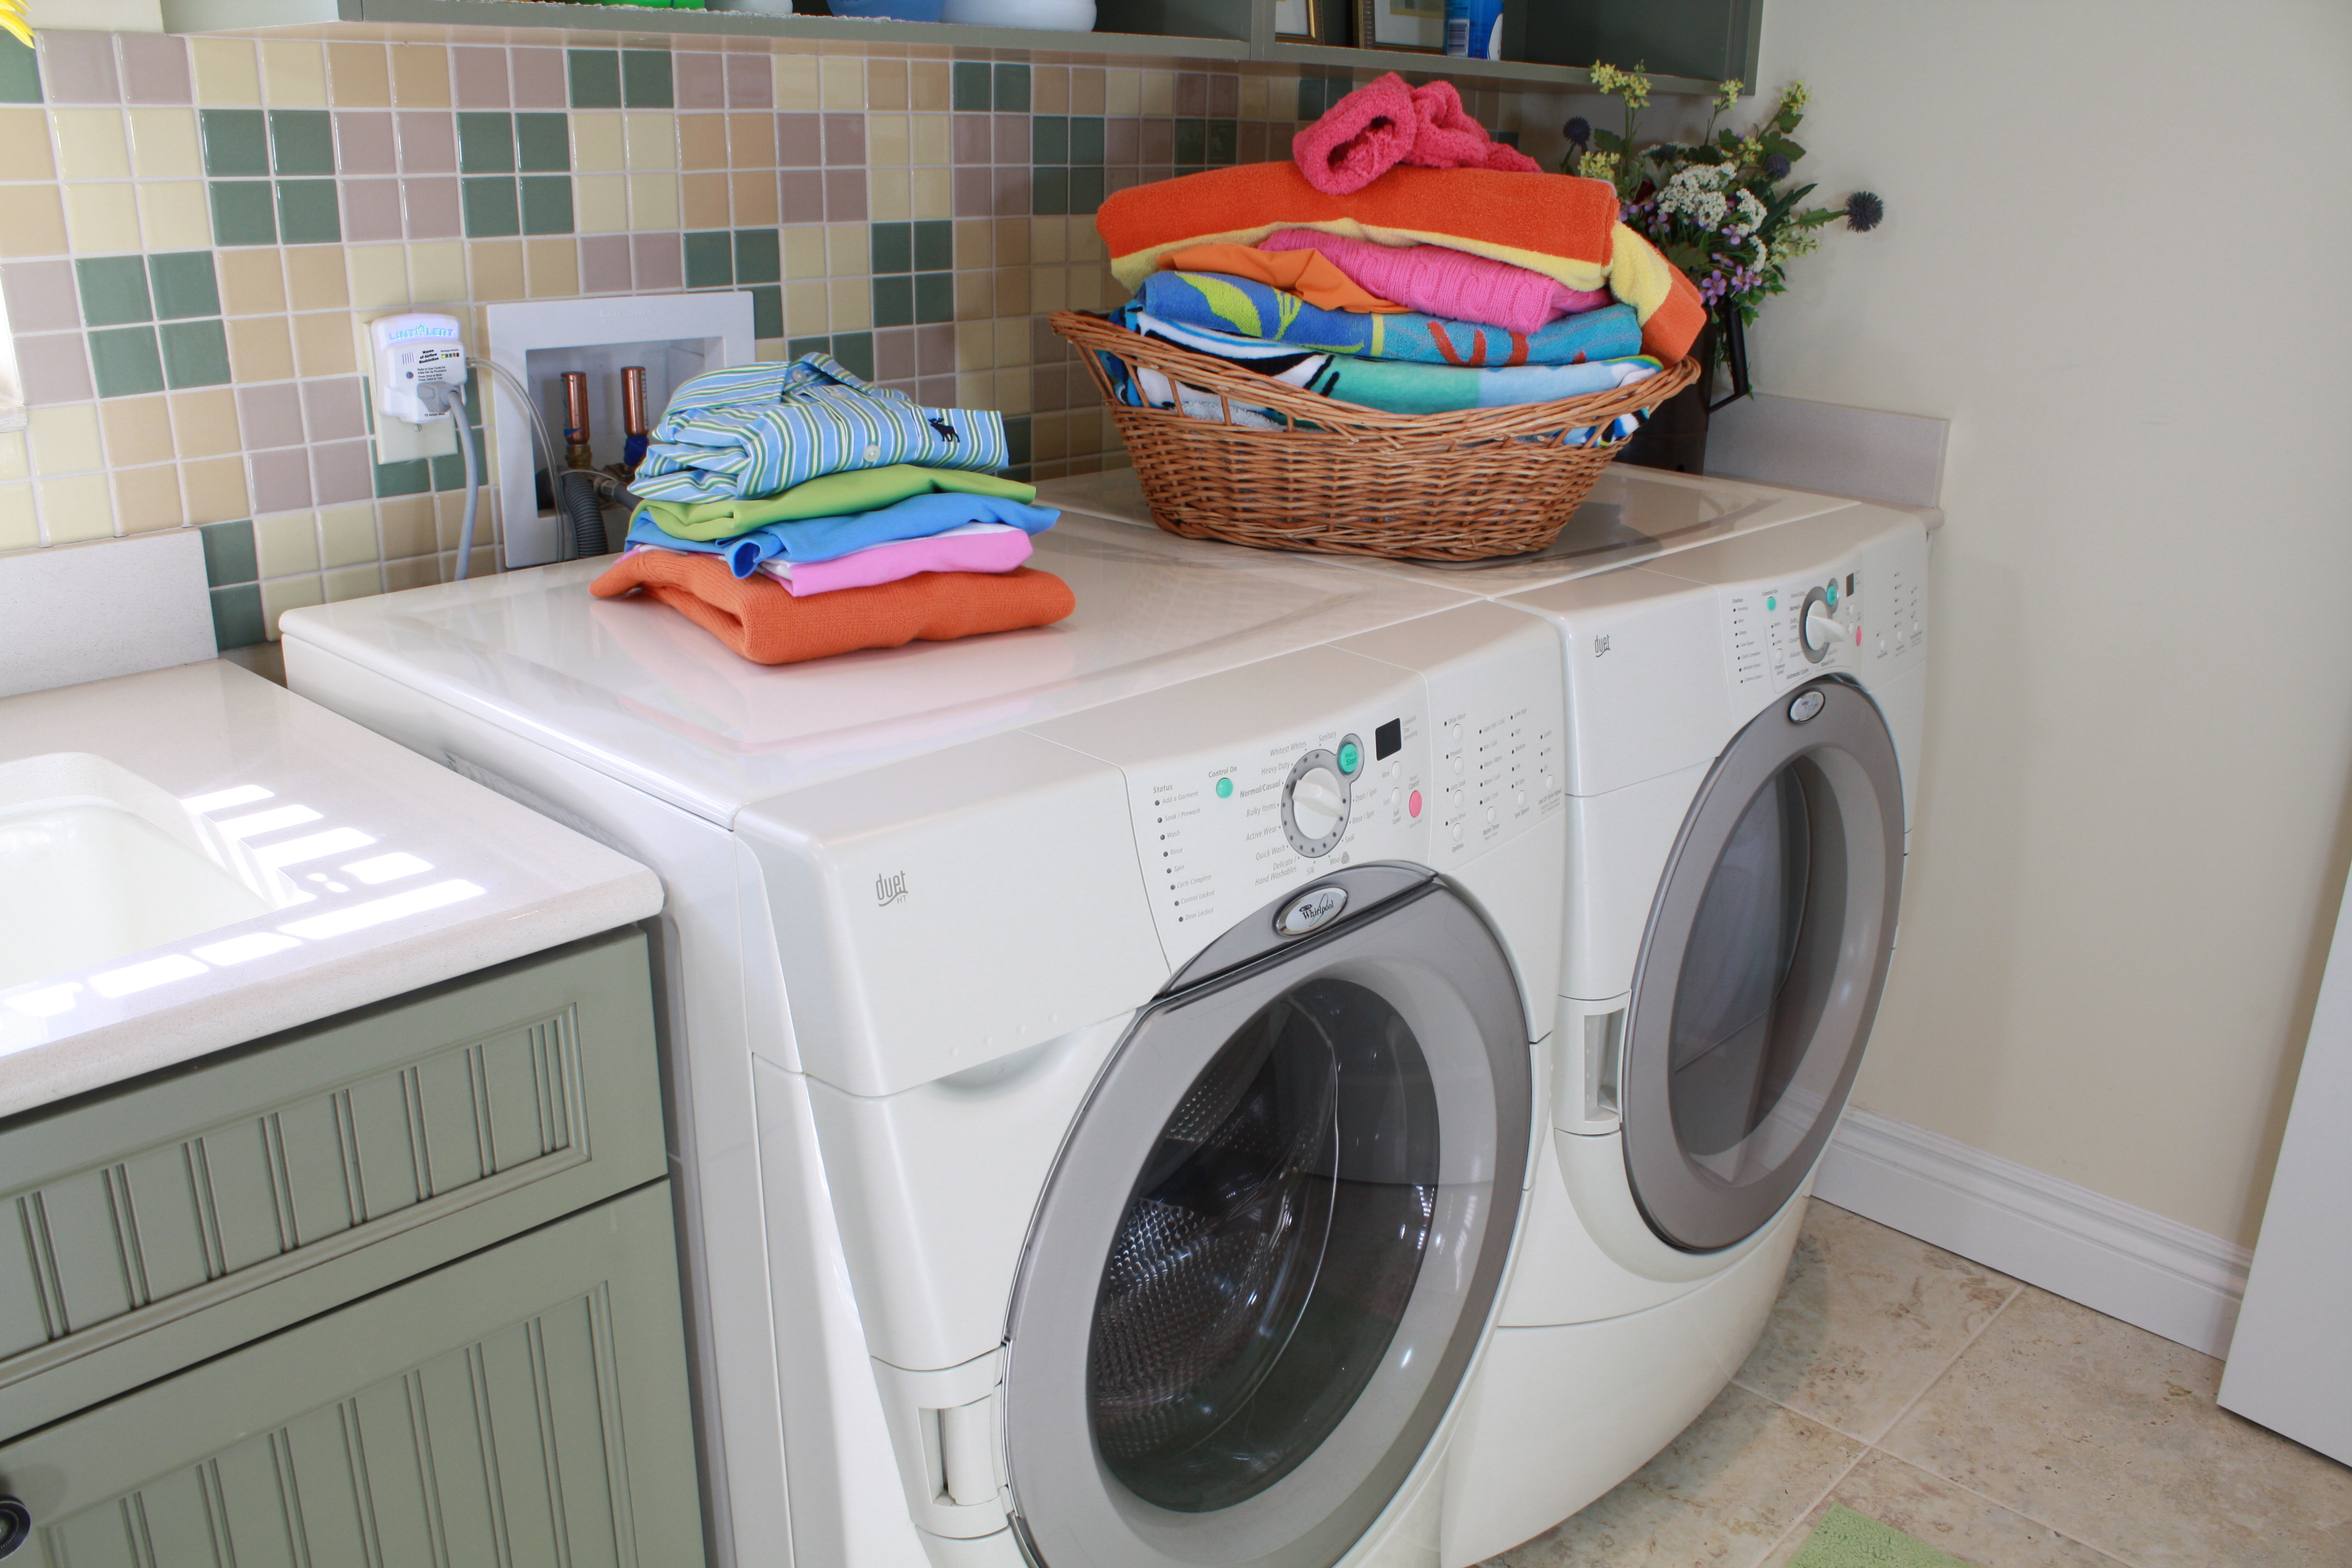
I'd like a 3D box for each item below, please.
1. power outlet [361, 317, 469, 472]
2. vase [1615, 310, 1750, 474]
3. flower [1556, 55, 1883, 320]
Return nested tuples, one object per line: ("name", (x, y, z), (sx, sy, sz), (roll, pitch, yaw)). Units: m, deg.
("power outlet", (-0.833, -0.429, 1.726), (0.079, 0.163, 0.107), (33, 37, 32))
("vase", (0.686, -0.538, 2.160), (0.142, 0.207, 0.222), (15, 40, 24))
("flower", (0.796, -0.862, 2.323), (0.448, 0.362, 0.371), (10, 25, 22))
